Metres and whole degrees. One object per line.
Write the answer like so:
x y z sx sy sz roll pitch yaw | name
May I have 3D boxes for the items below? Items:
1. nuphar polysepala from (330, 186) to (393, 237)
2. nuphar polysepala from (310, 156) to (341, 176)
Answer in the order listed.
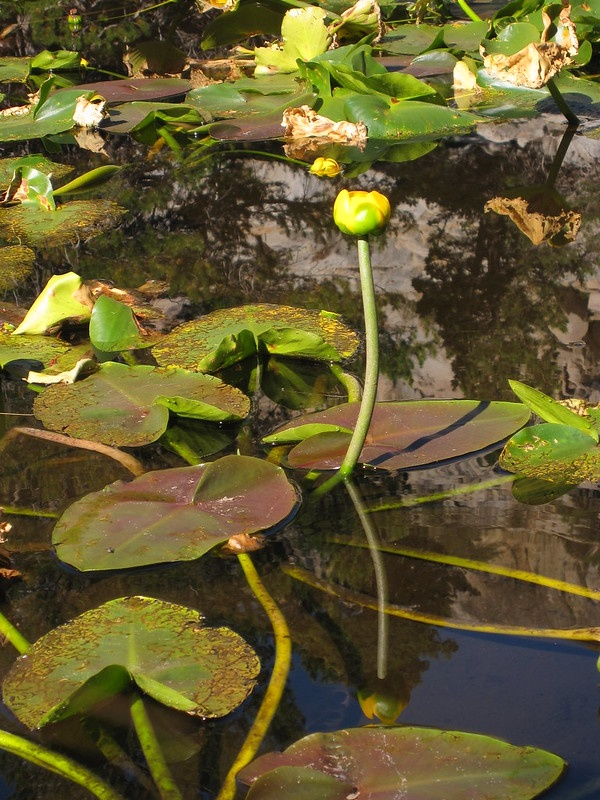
0.065 -0.204 0.943 0.056 0.040 0.063 4 -11 -6 | nuphar polysepala
0.061 -0.595 2.214 0.081 0.038 0.139 -3 21 0 | nuphar polysepala
